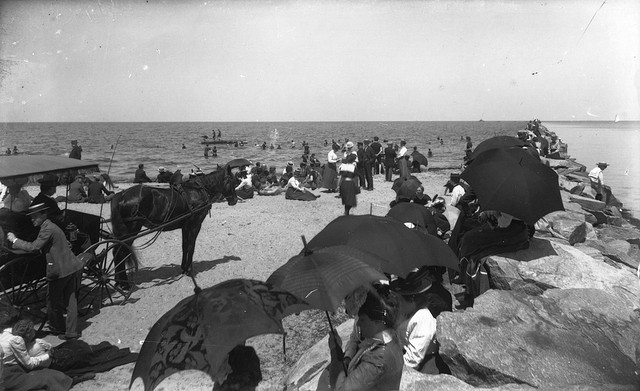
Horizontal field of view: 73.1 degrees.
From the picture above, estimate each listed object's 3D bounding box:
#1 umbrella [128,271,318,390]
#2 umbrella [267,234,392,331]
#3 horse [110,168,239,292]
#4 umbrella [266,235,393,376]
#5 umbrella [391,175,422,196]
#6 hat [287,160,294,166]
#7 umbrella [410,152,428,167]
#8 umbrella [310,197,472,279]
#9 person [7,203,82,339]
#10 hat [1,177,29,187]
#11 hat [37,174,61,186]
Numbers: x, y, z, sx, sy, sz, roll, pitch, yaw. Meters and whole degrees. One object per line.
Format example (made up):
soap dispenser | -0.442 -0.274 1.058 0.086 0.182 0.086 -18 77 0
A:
umbrella | -1.801 2.922 7.880 2.382 1.119 2.385 -31 -6 27
umbrella | 0.219 1.407 8.166 1.893 1.553 1.866 -26 11 1
horse | -4.209 0.787 12.701 1.163 3.093 4.358 4 7 37
umbrella | 0.097 1.632 8.237 2.181 1.936 2.287 -28 -4 22
umbrella | 2.545 -0.241 12.557 0.669 0.445 0.975 0 12 2
hat | -1.545 -1.606 22.379 0.350 0.212 0.345 -1 14 7
umbrella | 6.503 -2.420 28.479 0.894 0.365 0.905 25 24 38
umbrella | 1.657 0.971 8.784 1.876 0.902 1.819 0 -6 45
person | -6.116 1.724 10.056 1.387 3.011 0.982 2 12 11
hat | -7.260 -0.325 10.324 0.416 0.104 0.441 0 3 24
hat | -6.852 -0.414 10.919 0.392 0.378 1.010 -7 14 -31
